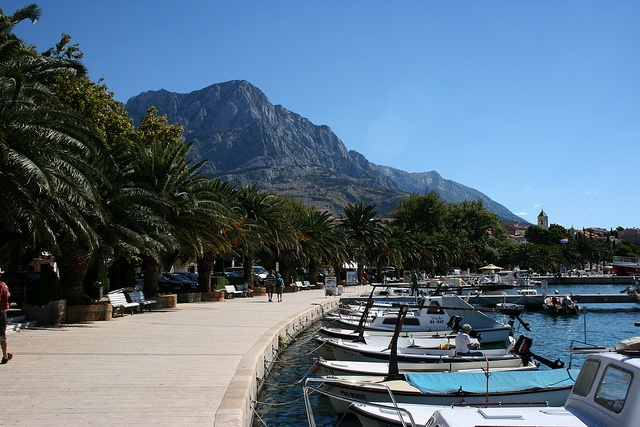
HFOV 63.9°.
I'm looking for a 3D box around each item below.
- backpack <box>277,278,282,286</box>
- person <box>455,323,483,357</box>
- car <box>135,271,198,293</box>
[{"bbox_3d":[-2.997,5.021,37.722,0.491,0.515,0.287,1,3,38],"label":"backpack"},{"bbox_3d":[5.713,4.928,19.893,0.856,1.270,0.967,7,-10,-11],"label":"person"},{"bbox_3d":[-13.128,6.325,47.265,3.223,1.874,8.364,1,-9,-16],"label":"car"}]
